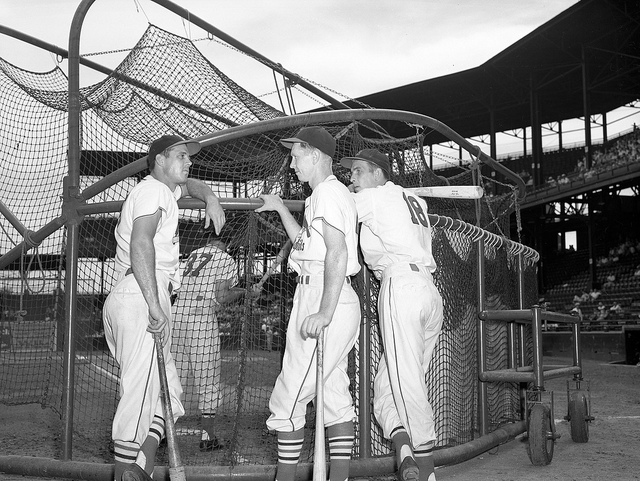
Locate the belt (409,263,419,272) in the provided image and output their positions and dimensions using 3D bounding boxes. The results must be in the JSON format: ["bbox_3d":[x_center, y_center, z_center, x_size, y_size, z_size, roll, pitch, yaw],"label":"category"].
[{"bbox_3d":[0.991,0.288,9.037,0.062,0.074,0.004,-17,-14,-11],"label":"belt"}]

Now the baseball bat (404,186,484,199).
[{"bbox_3d":[1.425,-0.551,9.790,1.191,0.161,0.189,1,11,-1],"label":"baseball bat"}]

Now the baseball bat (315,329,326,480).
[{"bbox_3d":[-0.001,1.607,8.266,0.110,1.395,0.117,-1,-6,-5],"label":"baseball bat"}]

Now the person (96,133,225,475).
[{"bbox_3d":[-1.667,0.643,8.784,1.044,3.442,0.595,0,-7,-17],"label":"person"}]

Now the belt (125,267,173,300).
[{"bbox_3d":[-1.710,0.437,8.744,0.490,0.321,0.344,1,-7,-22],"label":"belt"}]

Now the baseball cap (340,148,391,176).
[{"bbox_3d":[0.503,-0.890,9.268,0.394,0.172,0.301,7,-3,-3],"label":"baseball cap"}]
